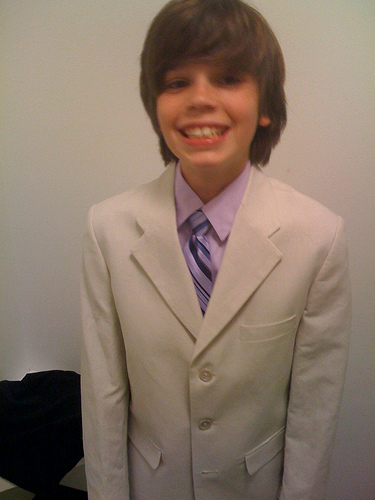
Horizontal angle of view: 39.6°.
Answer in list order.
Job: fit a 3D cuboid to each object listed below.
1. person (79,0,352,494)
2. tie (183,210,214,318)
[{"bbox_3d":[0.042,0.040,1.271,0.662,1.217,0.285,-4,6,13],"label":"person"},{"bbox_3d":[0.028,0.027,1.206,0.068,0.234,0.080,-5,6,10],"label":"tie"}]
